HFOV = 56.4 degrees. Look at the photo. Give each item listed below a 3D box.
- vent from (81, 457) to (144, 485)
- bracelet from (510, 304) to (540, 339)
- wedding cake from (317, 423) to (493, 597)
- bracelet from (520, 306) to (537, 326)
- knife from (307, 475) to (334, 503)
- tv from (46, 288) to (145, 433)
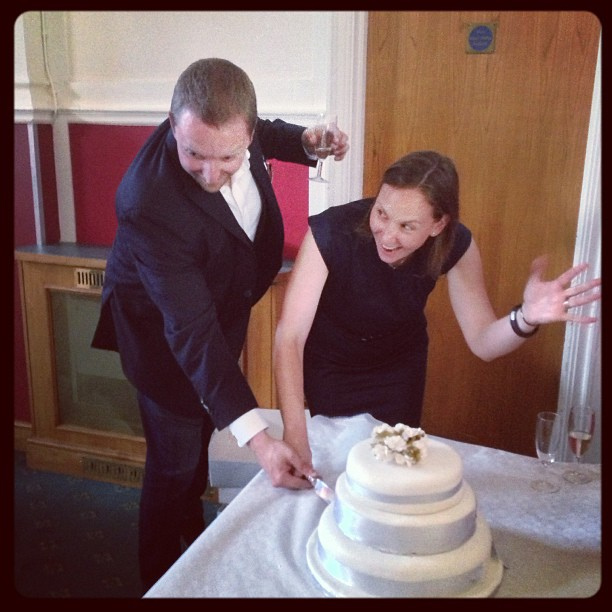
[{"bbox_3d":[-0.590,0.503,1.725,0.202,0.070,0.043,3,11,17],"label":"vent"},{"bbox_3d":[0.445,0.036,1.173,0.064,0.069,0.019,-26,8,-33],"label":"bracelet"},{"bbox_3d":[0.138,0.270,0.829,0.250,0.196,0.254,6,13,28],"label":"wedding cake"},{"bbox_3d":[0.437,0.021,1.129,0.032,0.040,0.022,3,11,20],"label":"bracelet"},{"bbox_3d":[0.023,0.303,0.945,0.003,0.017,0.061,39,1,-45],"label":"knife"},{"bbox_3d":[-0.595,0.144,1.622,0.383,0.501,0.022,1,3,13],"label":"tv"}]
